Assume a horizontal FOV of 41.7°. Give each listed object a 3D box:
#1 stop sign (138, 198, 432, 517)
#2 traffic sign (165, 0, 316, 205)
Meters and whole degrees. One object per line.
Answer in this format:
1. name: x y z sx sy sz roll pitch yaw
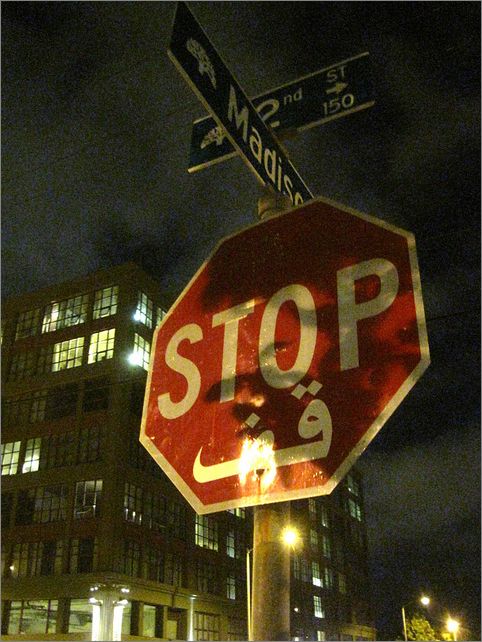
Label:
1. stop sign: 0.108 0.112 2.569 1.384 1.271 0.011 -20 -34 33
2. traffic sign: -0.016 -1.134 3.475 0.066 0.511 1.384 -10 -22 24
